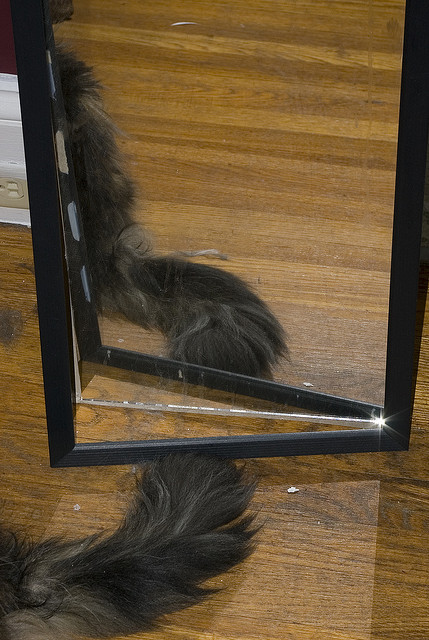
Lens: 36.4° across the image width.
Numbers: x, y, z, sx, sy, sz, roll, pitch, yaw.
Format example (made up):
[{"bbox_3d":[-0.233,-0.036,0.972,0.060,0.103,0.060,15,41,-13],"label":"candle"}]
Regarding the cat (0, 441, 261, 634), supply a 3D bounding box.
[{"bbox_3d":[-0.083,0.208,0.643,0.255,0.178,0.078,6,1,-2],"label":"cat"}]
